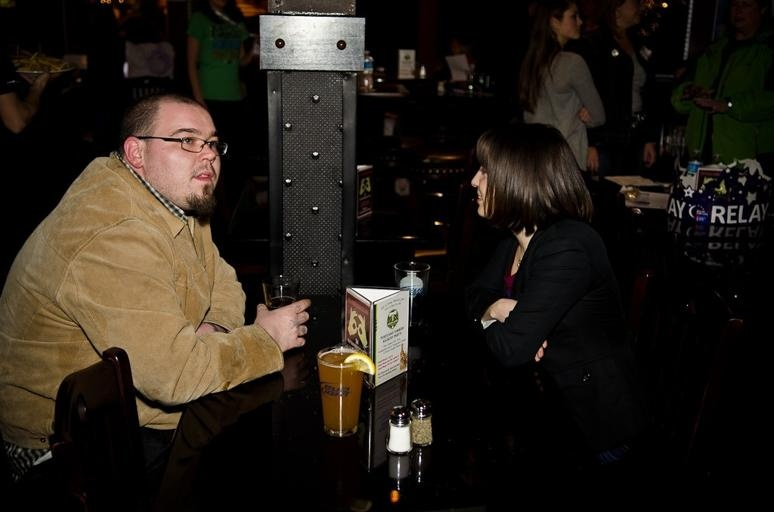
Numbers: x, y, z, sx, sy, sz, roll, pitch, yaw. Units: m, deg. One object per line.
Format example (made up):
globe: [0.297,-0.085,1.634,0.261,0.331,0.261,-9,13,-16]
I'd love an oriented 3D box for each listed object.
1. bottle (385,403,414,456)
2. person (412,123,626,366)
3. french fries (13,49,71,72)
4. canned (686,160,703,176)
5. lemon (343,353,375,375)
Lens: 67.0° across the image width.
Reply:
bottle: [0.034,0.485,1.641,0.074,0.124,0.062,1,16,5]
person: [0.519,-0.222,2.575,0.843,1.437,0.675,7,20,17]
french fries: [-2.329,-1.292,3.995,0.299,0.061,0.300,6,26,-7]
canned: [1.675,-0.486,3.222,0.066,0.074,0.136,8,18,26]
lemon: [-0.085,0.324,1.741,0.116,0.063,0.033,20,-32,-34]
